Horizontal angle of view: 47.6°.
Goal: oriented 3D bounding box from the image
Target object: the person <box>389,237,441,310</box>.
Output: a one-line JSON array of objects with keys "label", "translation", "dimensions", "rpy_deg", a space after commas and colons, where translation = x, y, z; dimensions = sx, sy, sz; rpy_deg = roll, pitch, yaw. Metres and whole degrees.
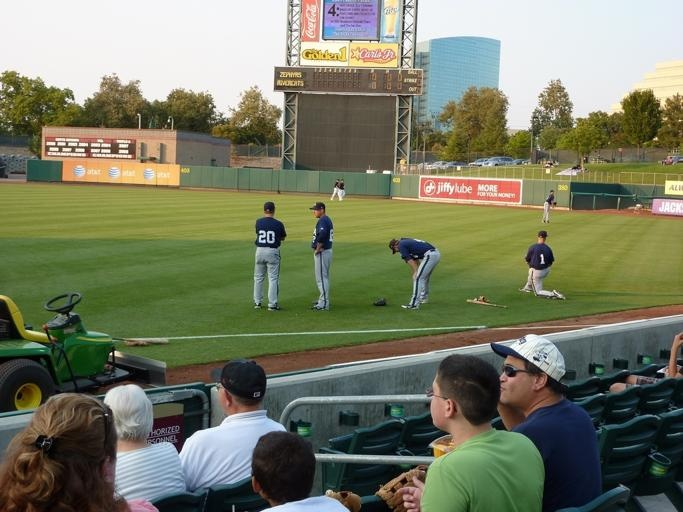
[{"label": "person", "translation": [1.305, 0.291, 13.761], "dimensions": [0.816, 1.144, 1.035], "rpy_deg": [0, 8, -8]}]

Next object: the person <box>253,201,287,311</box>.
[{"label": "person", "translation": [-1.216, -0.039, 13.061], "dimensions": [0.518, 1.786, 0.973], "rpy_deg": [1, 8, -7]}]

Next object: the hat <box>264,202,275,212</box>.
[{"label": "hat", "translation": [-1.177, -0.823, 12.705], "dimensions": [0.140, 0.102, 0.184], "rpy_deg": [4, 23, 2]}]

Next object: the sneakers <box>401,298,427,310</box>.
[{"label": "sneakers", "translation": [1.254, 0.847, 13.562], "dimensions": [0.548, 0.226, 0.167], "rpy_deg": [-1, 14, -2]}]

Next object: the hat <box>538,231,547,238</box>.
[{"label": "hat", "translation": [3.938, -0.430, 15.276], "dimensions": [0.144, 0.102, 0.197], "rpy_deg": [13, 26, 30]}]

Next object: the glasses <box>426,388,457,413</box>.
[{"label": "glasses", "translation": [0.557, 0.817, 4.280], "dimensions": [0.158, 0.046, 0.154], "rpy_deg": [36, -26, -33]}]

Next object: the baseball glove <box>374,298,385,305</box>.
[{"label": "baseball glove", "translation": [0.663, 0.805, 13.505], "dimensions": [0.158, 0.088, 0.088], "rpy_deg": [5, 2, 7]}]

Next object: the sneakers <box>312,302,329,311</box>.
[{"label": "sneakers", "translation": [-0.359, 0.833, 13.106], "dimensions": [0.331, 0.204, 0.107], "rpy_deg": [5, 26, 5]}]

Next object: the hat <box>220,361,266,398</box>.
[{"label": "hat", "translation": [-0.650, 0.813, 5.091], "dimensions": [0.291, 0.240, 0.238], "rpy_deg": [0, 8, -9]}]

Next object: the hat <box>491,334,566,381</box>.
[{"label": "hat", "translation": [1.183, 0.594, 4.898], "dimensions": [0.433, 0.218, 0.260], "rpy_deg": [17, 3, 11]}]

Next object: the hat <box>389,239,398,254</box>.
[{"label": "hat", "translation": [0.990, -0.189, 14.928], "dimensions": [0.151, 0.198, 0.324], "rpy_deg": [30, -11, 13]}]

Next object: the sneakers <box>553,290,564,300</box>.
[{"label": "sneakers", "translation": [4.222, 0.761, 15.153], "dimensions": [0.135, 0.065, 0.185], "rpy_deg": [-15, 47, -46]}]

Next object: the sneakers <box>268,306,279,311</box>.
[{"label": "sneakers", "translation": [-1.115, 0.860, 12.802], "dimensions": [0.198, 0.080, 0.062], "rpy_deg": [-1, 35, -4]}]

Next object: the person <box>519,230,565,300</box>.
[{"label": "person", "translation": [4.066, 0.077, 15.824], "dimensions": [0.757, 1.284, 1.582], "rpy_deg": [3, 8, 10]}]

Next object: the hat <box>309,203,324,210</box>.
[{"label": "hat", "translation": [-0.445, -0.842, 13.076], "dimensions": [0.275, 0.138, 0.185], "rpy_deg": [-1, 7, 3]}]
